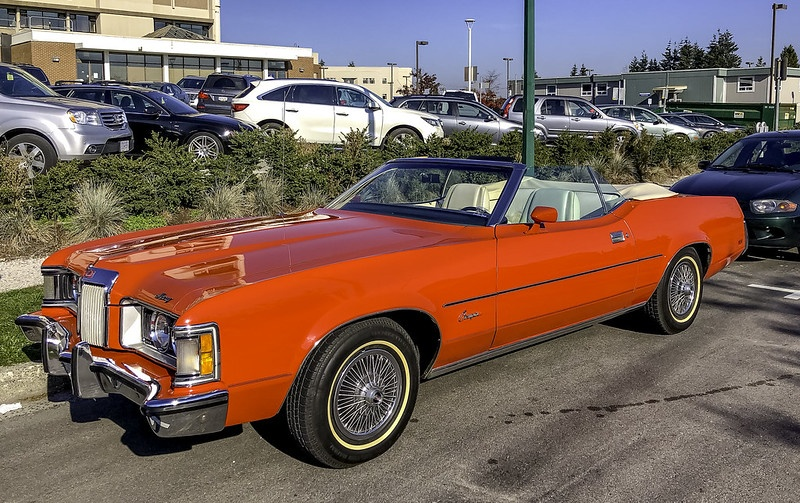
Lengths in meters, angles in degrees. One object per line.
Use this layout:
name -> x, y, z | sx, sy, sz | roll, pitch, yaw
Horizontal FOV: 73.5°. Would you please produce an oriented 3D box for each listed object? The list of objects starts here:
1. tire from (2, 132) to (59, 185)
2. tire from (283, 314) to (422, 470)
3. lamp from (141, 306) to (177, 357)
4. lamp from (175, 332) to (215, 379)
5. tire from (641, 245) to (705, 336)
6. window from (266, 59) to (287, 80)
tire -> -7.113, -1.798, 10.241 | 0.933, 0.954, 0.299 | -24, 9, -25
tire -> -0.319, 1.080, 4.210 | 1.104, 1.120, 0.376 | 3, 3, -41
lamp -> -1.727, 0.567, 3.827 | 0.388, 0.291, 0.108 | 11, 18, 41
lamp -> -1.410, 0.698, 3.678 | 0.226, 0.316, 0.268 | -7, -8, 30
tire -> 3.122, 0.426, 6.180 | 1.011, 1.028, 0.311 | 1, 8, -41
window -> -12.032, -17.759, 51.855 | 2.665, 1.491, 1.086 | -11, 17, -39
